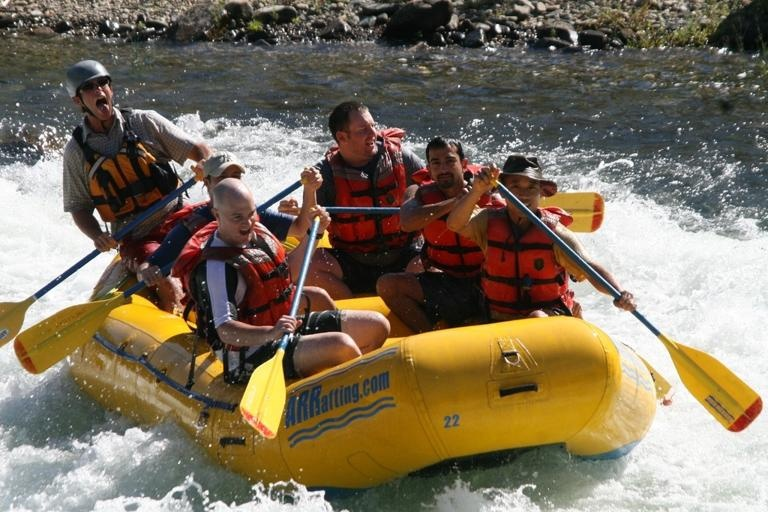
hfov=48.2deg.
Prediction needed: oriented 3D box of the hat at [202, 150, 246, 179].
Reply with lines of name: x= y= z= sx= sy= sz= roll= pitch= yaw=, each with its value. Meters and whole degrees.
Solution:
hat: x=-1.334 y=-0.754 z=7.025 sx=0.328 sy=0.189 sz=0.233 roll=-7 pitch=31 yaw=-12

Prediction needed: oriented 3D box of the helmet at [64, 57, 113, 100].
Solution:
helmet: x=-2.666 y=-1.563 z=7.570 sx=0.381 sy=0.306 sz=0.338 roll=22 pitch=47 yaw=41

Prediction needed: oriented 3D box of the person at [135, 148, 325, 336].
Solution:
person: x=-1.416 y=0.091 z=7.604 sx=1.988 sy=1.285 sz=1.084 roll=-11 pitch=17 yaw=-25

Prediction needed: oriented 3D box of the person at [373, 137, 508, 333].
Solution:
person: x=0.448 y=-0.112 z=7.180 sx=1.472 sy=1.775 sz=1.012 roll=-5 pitch=-14 yaw=7

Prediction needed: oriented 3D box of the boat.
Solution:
boat: x=-0.229 y=0.768 z=6.607 sx=2.962 sy=0.733 sz=1.915 roll=6 pitch=8 yaw=43

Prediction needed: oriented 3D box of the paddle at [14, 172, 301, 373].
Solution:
paddle: x=-1.917 y=0.197 z=7.198 sx=3.073 sy=0.218 sz=0.429 roll=-32 pitch=53 yaw=-1
